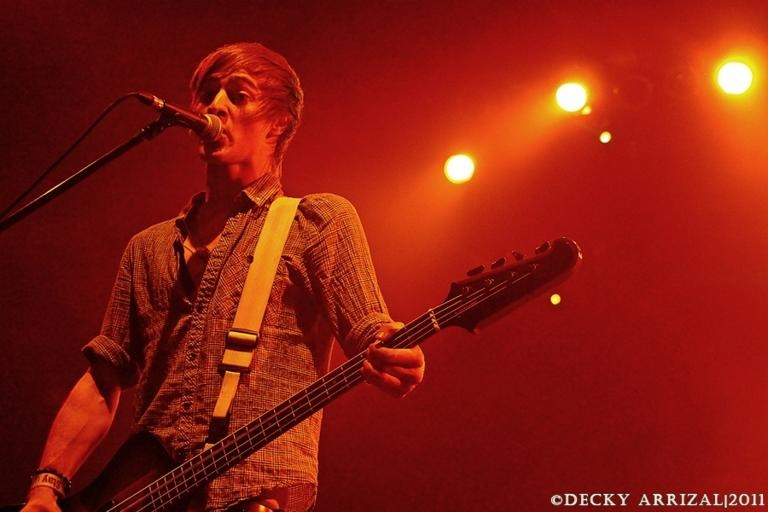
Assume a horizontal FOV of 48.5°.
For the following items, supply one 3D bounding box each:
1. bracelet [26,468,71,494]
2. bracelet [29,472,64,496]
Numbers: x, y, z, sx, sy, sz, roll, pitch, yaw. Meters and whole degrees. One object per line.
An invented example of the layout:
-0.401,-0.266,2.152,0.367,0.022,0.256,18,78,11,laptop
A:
-1.292,0.875,3.312,0.102,0.043,0.109,9,-31,33,bracelet
-1.303,0.873,3.298,0.092,0.050,0.091,14,-9,-33,bracelet
